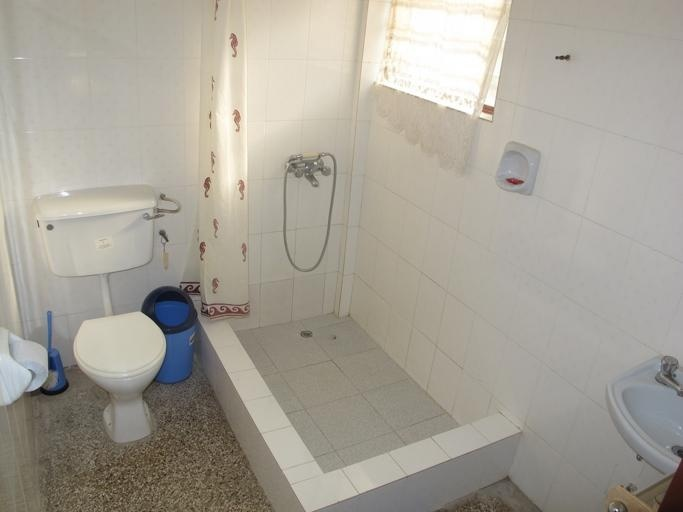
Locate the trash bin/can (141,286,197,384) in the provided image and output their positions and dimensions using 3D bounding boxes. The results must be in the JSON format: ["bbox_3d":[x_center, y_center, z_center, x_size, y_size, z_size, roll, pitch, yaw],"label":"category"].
[{"bbox_3d":[-1.151,0.536,3.326,0.318,0.592,0.351,0,28,-14],"label":"trash bin/can"}]

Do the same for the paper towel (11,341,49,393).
[{"bbox_3d":[-1.289,0.456,2.028,0.188,0.054,0.208,12,24,-50],"label":"paper towel"}]

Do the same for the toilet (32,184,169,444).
[{"bbox_3d":[-1.319,0.330,2.983,0.693,1.306,0.832,-13,30,-31],"label":"toilet"}]
